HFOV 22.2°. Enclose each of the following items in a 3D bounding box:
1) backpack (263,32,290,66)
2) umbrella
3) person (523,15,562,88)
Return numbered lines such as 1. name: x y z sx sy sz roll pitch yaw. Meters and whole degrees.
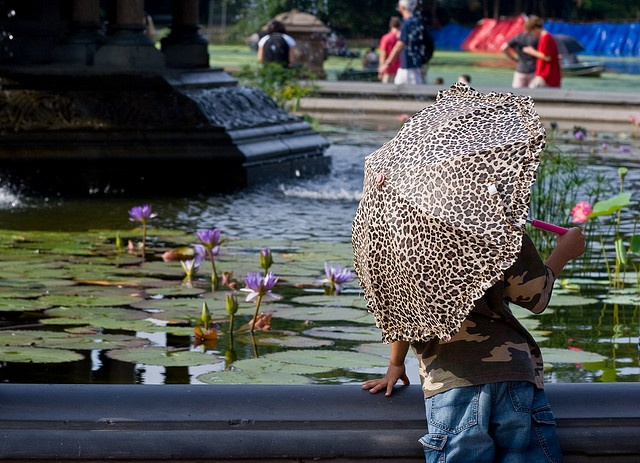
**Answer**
1. backpack: -0.415 -1.702 14.990 0.270 0.323 0.175 -2 34 -11
2. umbrella: 0.625 -0.063 8.011 0.927 1.227 0.458 0 13 1
3. person: 2.386 -1.925 17.504 0.397 0.853 1.344 2 12 8
